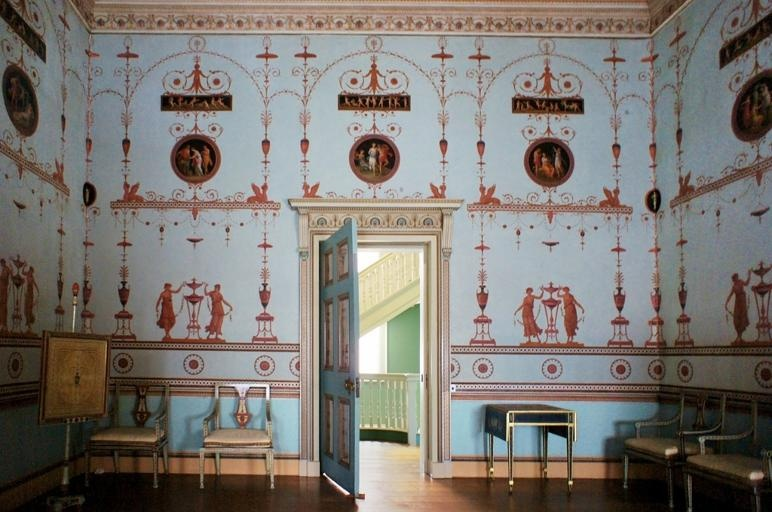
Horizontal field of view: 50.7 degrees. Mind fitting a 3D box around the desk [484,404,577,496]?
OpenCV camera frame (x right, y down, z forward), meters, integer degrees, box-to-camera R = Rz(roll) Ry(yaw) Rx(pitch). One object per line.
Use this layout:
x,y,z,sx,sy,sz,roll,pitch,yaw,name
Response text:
1.941,2.628,11.275,0.966,1.106,1.172,2,-16,-5,desk
